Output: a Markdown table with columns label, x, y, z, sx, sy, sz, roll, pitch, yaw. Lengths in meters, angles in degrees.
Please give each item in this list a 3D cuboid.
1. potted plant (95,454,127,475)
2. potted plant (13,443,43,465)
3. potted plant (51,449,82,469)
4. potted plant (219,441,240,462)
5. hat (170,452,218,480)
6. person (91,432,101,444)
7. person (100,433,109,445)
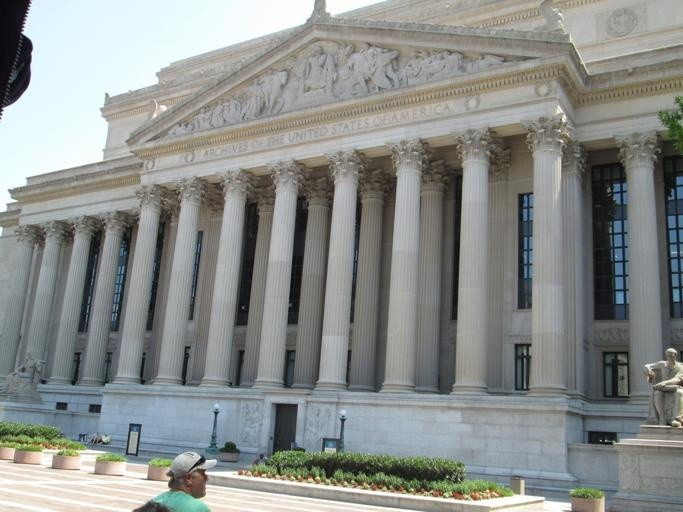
| label | x | y | z | sx | sy | sz | roll | pitch | yaw |
| --- | --- | --- | --- | --- | --- | --- | --- | --- | --- |
| potted plant | -8.832 | 8.000 | 24.488 | 0.958 | 0.578 | 0.892 | 2 | -7 | 16 |
| potted plant | -12.781 | 8.177 | 26.320 | 0.946 | 0.574 | 0.904 | 0 | -6 | 26 |
| potted plant | -10.842 | 8.112 | 25.377 | 0.909 | 0.564 | 0.845 | 1 | -5 | 10 |
| potted plant | -5.474 | 9.632 | 31.222 | 0.990 | 0.759 | 0.918 | -4 | -21 | 13 |
| hat | -1.827 | 2.574 | 7.902 | 0.569 | 0.198 | 0.349 | -5 | -1 | -29 |
| person | -14.310 | 10.717 | 37.311 | 0.623 | 0.753 | 0.349 | 4 | 5 | 13 |
| person | -13.652 | 10.575 | 36.703 | 0.434 | 0.556 | 1.166 | 10 | -19 | -28 |
